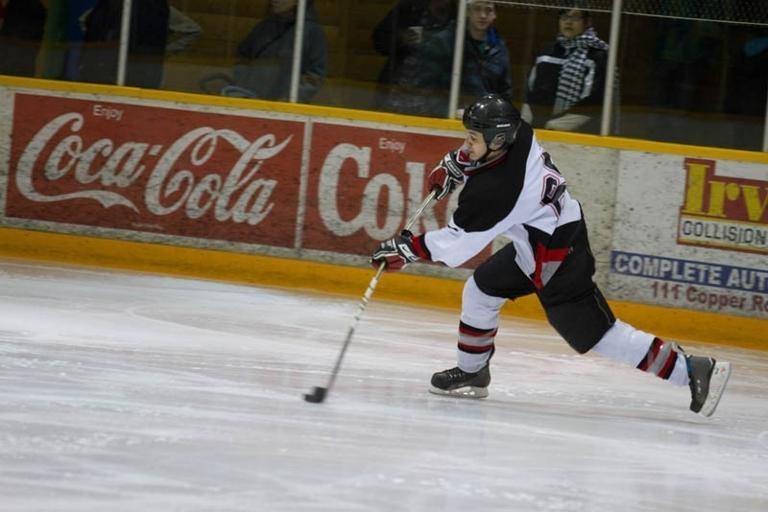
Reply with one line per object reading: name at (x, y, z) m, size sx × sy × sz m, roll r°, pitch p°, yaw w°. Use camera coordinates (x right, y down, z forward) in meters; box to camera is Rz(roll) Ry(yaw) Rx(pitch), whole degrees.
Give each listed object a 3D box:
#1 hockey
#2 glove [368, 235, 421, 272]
hockey at (-0.016, 0.279, 6.428) m, size 0.163 × 1.855 × 0.317 m, roll 47°, pitch -38°, yaw -16°
glove at (0.111, -0.006, 5.500) m, size 0.328 × 0.176 × 0.127 m, roll -19°, pitch -24°, yaw 7°
